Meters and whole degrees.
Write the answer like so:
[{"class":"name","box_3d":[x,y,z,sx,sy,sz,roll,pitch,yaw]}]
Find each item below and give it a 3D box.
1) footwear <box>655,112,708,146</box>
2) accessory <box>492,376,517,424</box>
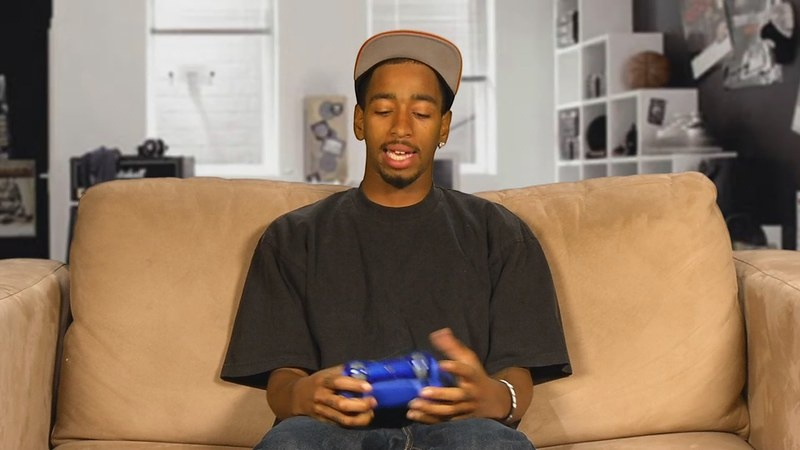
[{"class":"footwear","box_3d":[2.335,-0.777,7.363,0.405,0.255,0.151,-1,7,16]},{"class":"accessory","box_3d":[0.591,0.942,4.832,0.046,0.184,0.187,2,8,15]}]
